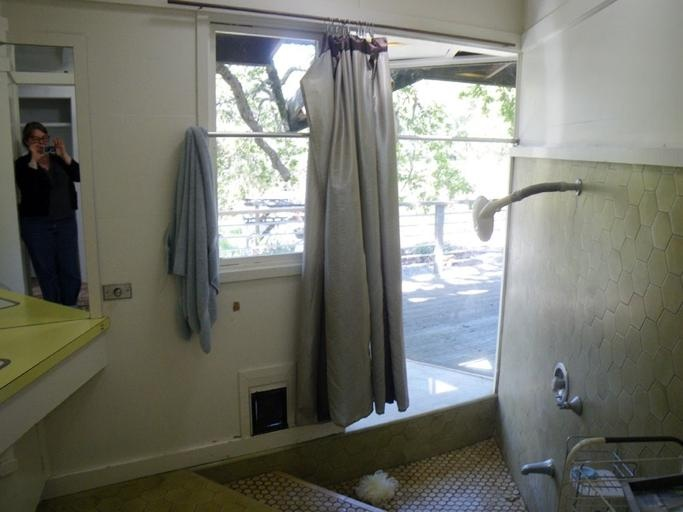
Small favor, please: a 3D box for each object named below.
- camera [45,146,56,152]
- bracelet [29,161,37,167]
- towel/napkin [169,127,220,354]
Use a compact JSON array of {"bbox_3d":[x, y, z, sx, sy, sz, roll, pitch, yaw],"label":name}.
[{"bbox_3d":[-1.244,-0.458,2.254,0.024,0.027,0.008,-11,7,-31],"label":"camera"},{"bbox_3d":[-1.304,-0.391,2.228,0.023,0.026,0.021,-12,20,-39],"label":"bracelet"},{"bbox_3d":[-0.700,-0.070,2.467,0.239,1.045,0.158,-5,9,-19],"label":"towel/napkin"}]
